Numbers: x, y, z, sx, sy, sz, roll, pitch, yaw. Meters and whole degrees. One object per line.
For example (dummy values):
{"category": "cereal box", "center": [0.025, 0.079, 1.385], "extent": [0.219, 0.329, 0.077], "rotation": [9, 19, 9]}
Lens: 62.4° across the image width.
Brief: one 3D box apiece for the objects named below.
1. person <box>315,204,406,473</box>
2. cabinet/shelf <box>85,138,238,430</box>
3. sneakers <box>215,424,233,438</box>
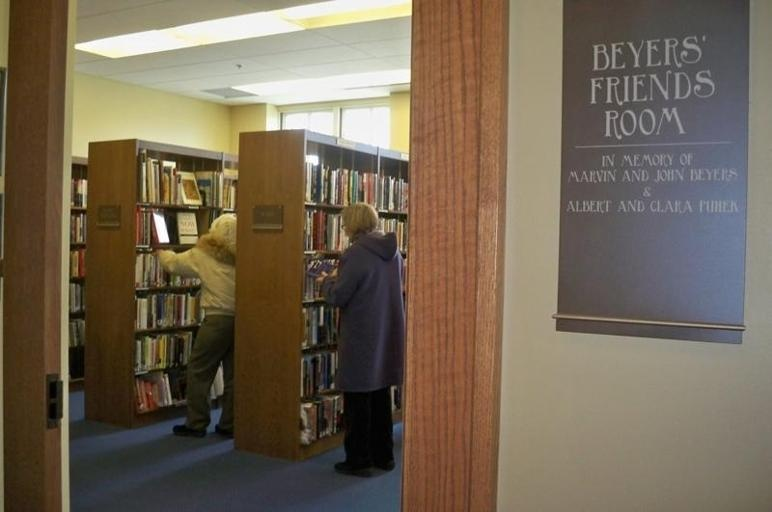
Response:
{"category": "person", "center": [-0.148, 0.633, 4.696], "extent": [0.612, 2.024, 0.369], "rotation": [0, 2, -32]}
{"category": "cabinet/shelf", "center": [-2.233, 0.245, 6.159], "extent": [1.179, 2.615, 0.640], "rotation": [-1, 3, -41]}
{"category": "sneakers", "center": [-1.434, 1.550, 5.599], "extent": [0.181, 0.087, 0.071], "rotation": [2, 0, 23]}
